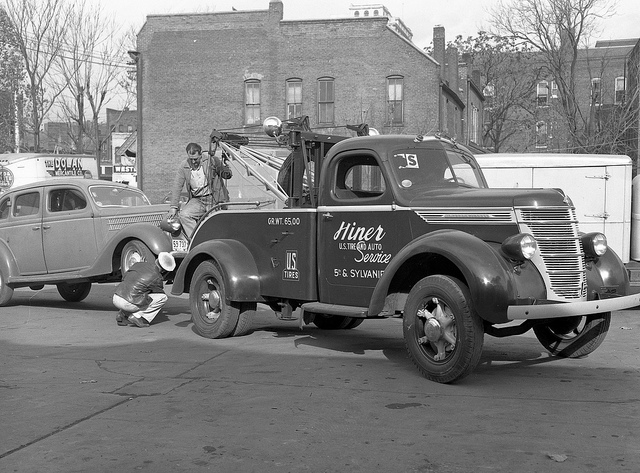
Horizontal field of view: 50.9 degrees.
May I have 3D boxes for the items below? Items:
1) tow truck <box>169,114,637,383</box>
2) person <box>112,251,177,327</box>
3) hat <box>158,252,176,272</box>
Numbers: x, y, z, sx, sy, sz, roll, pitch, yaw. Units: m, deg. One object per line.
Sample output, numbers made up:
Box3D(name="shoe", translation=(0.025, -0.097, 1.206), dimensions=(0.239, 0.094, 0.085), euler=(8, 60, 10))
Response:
Box3D(name="tow truck", translation=(0.740, 0.080, 10.180), dimensions=(6.909, 3.244, 3.368), euler=(-2, -2, 40))
Box3D(name="person", translation=(-3.013, 0.899, 11.455), dimensions=(0.870, 1.296, 0.819), euler=(12, -1, -5))
Box3D(name="hat", translation=(-2.541, 0.411, 11.204), dimensions=(0.239, 0.314, 0.112), euler=(-20, -15, -49))
